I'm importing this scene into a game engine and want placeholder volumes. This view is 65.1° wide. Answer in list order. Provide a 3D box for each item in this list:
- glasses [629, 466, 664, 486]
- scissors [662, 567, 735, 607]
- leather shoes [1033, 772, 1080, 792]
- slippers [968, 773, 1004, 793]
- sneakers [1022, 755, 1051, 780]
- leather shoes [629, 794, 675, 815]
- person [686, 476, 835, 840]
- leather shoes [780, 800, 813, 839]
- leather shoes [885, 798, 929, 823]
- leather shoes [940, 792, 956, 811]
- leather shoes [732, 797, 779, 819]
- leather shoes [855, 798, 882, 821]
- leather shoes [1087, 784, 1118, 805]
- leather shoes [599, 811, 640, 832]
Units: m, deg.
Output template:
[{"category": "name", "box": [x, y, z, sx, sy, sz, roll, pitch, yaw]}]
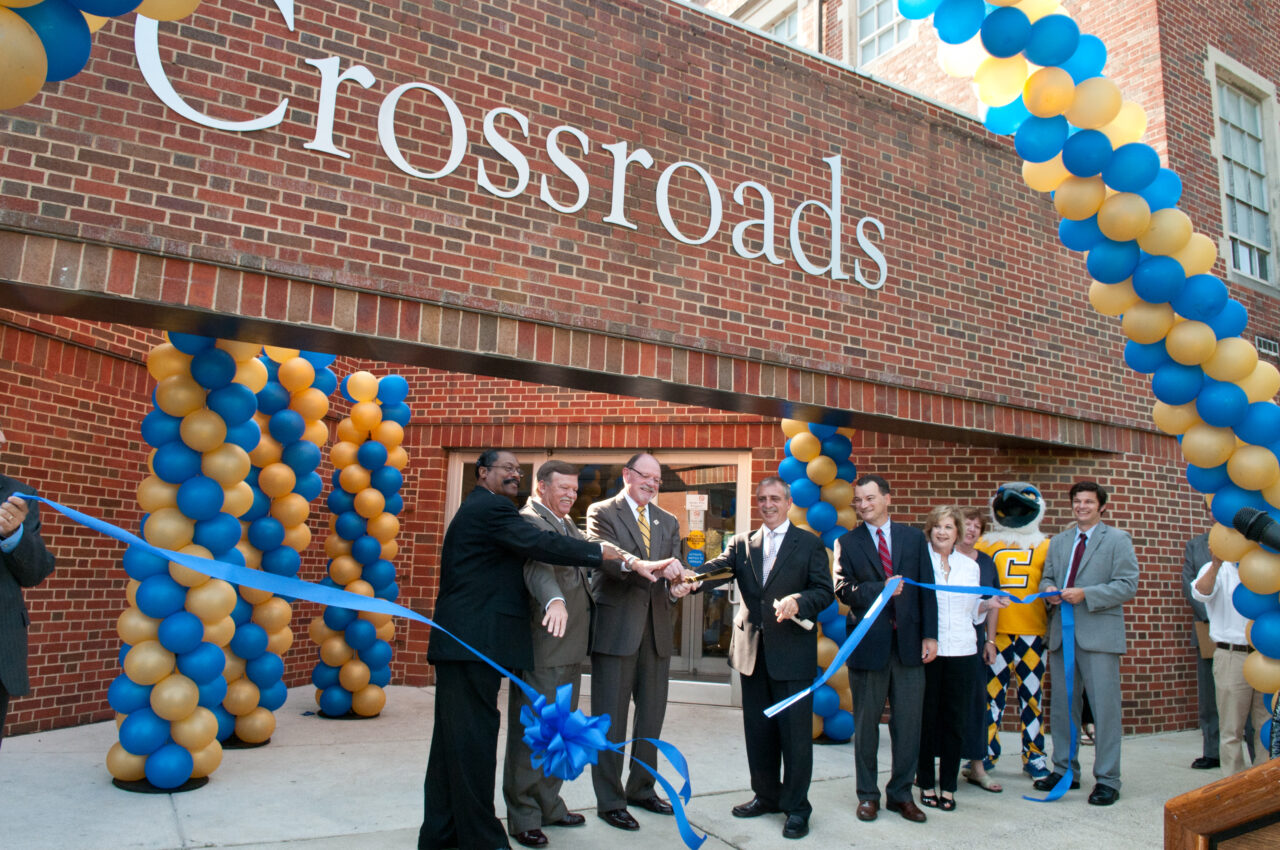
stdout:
[{"category": "glasses", "box": [0.005, 0.389, 7.682, 0.162, 0.181, 0.182, 7, -21, -12]}, {"category": "scissors", "box": [0.482, 1.196, 7.673, 0.202, 0.279, 0.874, -28, -17, 39]}, {"category": "leather shoes", "box": [3.471, 2.965, 8.316, 0.457, 0.174, 0.158, 5, -10, -9]}, {"category": "slippers", "box": [2.858, 2.955, 8.385, 0.099, 0.159, 0.275, 4, -10, -39]}, {"category": "sneakers", "box": [3.407, 2.973, 8.724, 0.105, 0.211, 0.305, 5, -12, -22]}, {"category": "leather shoes", "box": [0.081, 2.858, 7.611, 0.367, 0.152, 0.126, -1, -11, 20]}, {"category": "person", "box": [0.987, 1.706, 7.588, 0.880, 2.596, 0.641, 0, -8, 13]}, {"category": "leather shoes", "box": [1.132, 2.870, 7.328, 0.197, 0.232, 0.340, 1, -8, 10]}, {"category": "leather shoes", "box": [2.030, 2.923, 7.646, 0.117, 0.129, 0.314, 3, -6, -41]}, {"category": "leather shoes", "box": [2.426, 2.968, 7.928, 0.129, 0.108, 0.274, 0, -8, 15]}, {"category": "leather shoes", "box": [0.859, 2.899, 7.630, 0.384, 0.157, 0.139, 4, -11, -5]}, {"category": "leather shoes", "box": [1.733, 2.918, 7.606, 0.220, 0.133, 0.137, 4, -8, -14]}, {"category": "leather shoes", "box": [3.665, 2.938, 7.995, 0.276, 0.122, 0.117, -7, 11, 1]}, {"category": "leather shoes", "box": [-0.157, 2.870, 7.269, 0.274, 0.105, 0.101, -7, -10, 34]}]
